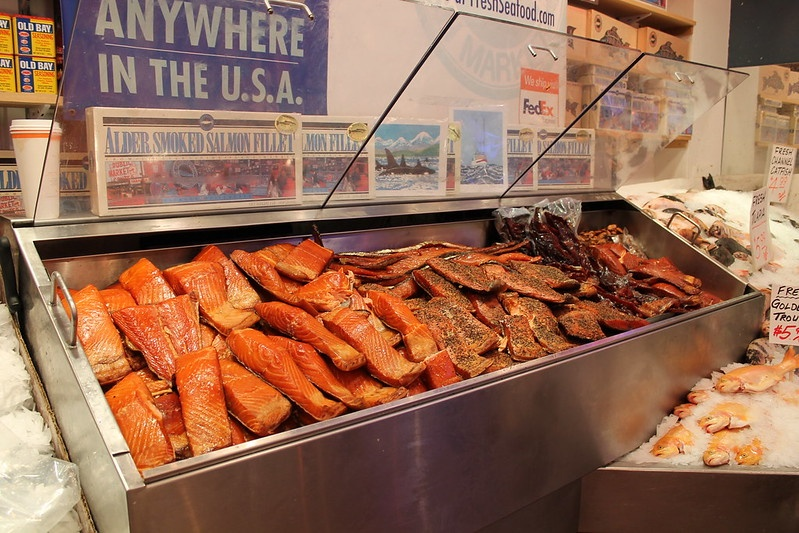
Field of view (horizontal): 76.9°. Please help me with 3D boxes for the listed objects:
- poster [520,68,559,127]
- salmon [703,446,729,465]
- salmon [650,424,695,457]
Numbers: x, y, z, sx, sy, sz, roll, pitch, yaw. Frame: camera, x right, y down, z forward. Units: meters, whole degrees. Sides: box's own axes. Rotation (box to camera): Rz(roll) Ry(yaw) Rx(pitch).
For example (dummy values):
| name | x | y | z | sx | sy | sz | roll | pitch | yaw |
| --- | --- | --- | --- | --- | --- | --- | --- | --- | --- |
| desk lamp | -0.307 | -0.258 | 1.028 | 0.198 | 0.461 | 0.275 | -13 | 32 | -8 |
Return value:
| name | x | y | z | sx | sy | sz | roll | pitch | yaw |
| --- | --- | --- | --- | --- | --- | --- | --- | --- | --- |
| poster | 0.605 | -0.755 | 2.201 | 0.236 | 0.251 | 0.014 | 0 | 31 | -5 |
| salmon | 1.262 | 0.759 | 2.017 | 0.082 | 0.040 | 0.065 | 7 | 38 | 19 |
| salmon | 1.101 | 0.710 | 2.035 | 0.089 | 0.082 | 0.222 | 22 | 49 | 36 |
